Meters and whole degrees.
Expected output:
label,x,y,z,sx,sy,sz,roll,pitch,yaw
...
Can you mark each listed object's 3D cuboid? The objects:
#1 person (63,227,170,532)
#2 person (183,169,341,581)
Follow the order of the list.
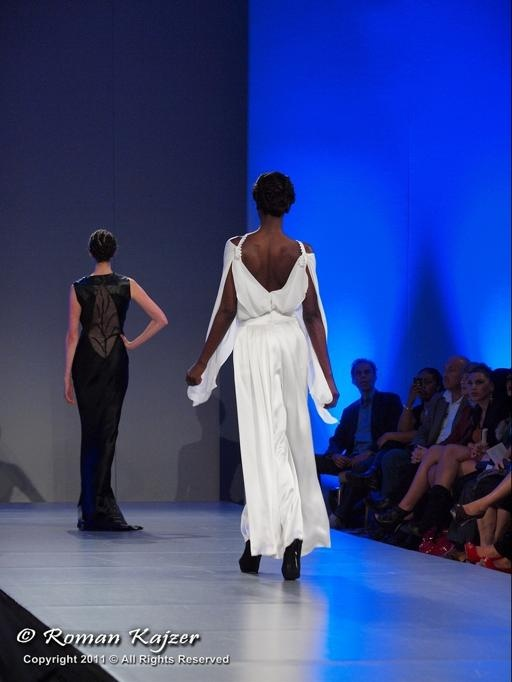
label,x,y,z,sx,sy,sz,roll,pitch,yaw
person,-0.747,0.197,3.944,0.473,1.532,0.259,2,-8,-13
person,0.035,0.092,2.630,0.543,1.379,0.364,1,-8,-6
